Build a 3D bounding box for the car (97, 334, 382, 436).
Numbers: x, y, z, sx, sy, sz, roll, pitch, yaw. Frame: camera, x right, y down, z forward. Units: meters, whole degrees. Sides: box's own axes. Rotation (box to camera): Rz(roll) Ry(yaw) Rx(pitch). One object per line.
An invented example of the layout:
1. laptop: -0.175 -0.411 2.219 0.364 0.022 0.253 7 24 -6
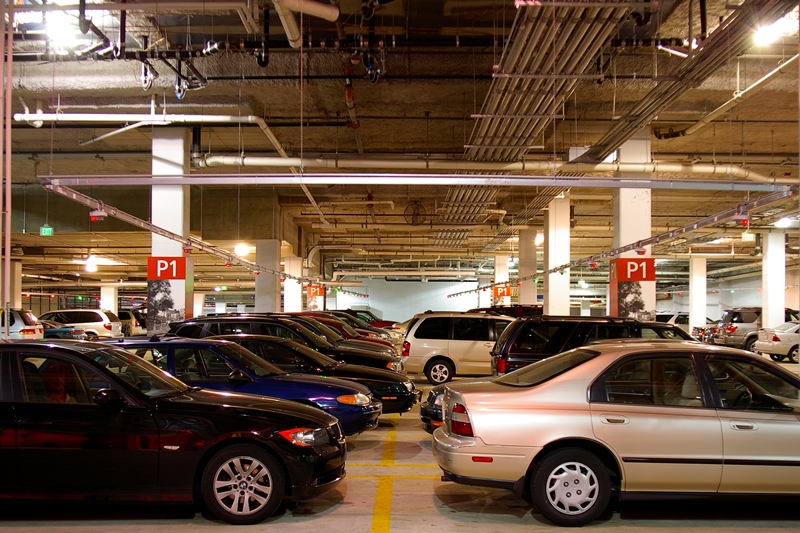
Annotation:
1. car: -2.216 1.783 10.888 4.534 0.941 1.583 1 0 -2
